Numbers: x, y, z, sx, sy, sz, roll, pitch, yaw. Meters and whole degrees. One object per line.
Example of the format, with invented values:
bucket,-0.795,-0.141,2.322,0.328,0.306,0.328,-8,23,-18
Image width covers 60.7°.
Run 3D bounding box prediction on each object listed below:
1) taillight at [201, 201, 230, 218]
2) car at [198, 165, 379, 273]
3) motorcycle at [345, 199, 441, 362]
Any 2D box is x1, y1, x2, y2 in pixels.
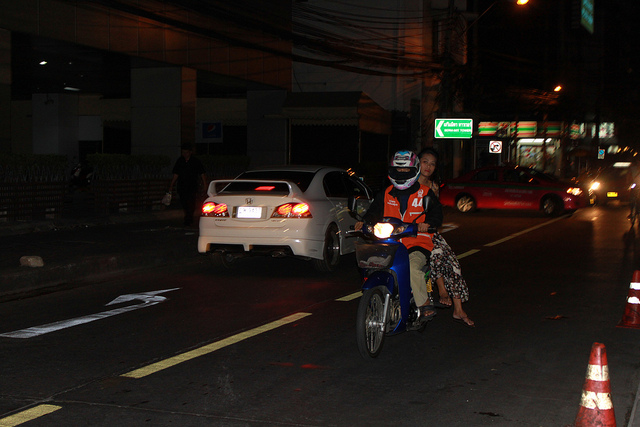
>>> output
taillight,-2.088,-0.066,10.833,0.307,0.212,0.507,1,-3,7
car,-0.335,-0.056,12.015,2.025,1.307,3.667,0,6,23
motorcycle,0.846,0.745,6.497,1.023,1.875,1.344,2,6,3
